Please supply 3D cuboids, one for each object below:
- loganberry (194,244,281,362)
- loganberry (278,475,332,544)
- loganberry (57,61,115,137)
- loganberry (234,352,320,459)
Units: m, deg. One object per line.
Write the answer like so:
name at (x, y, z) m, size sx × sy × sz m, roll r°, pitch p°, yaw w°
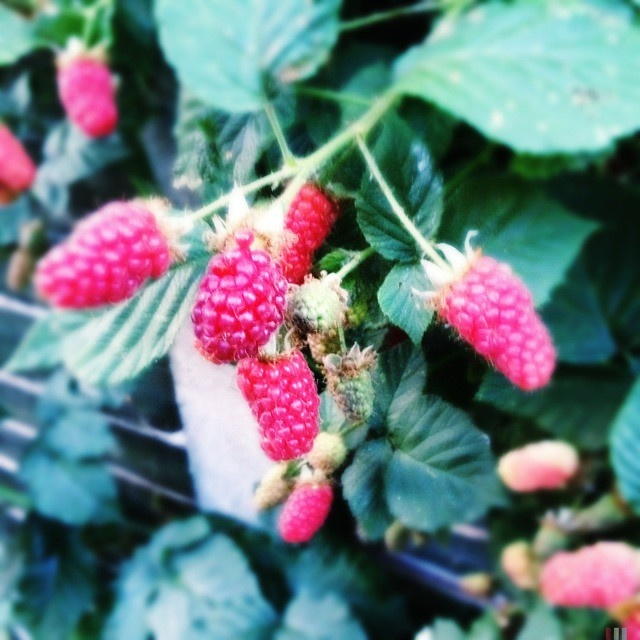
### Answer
loganberry at (-0.054, -0.012, 0.501) m, size 0.051 × 0.044 × 0.080 m, roll 13°, pitch 82°, yaw 33°
loganberry at (-0.011, 0.156, 0.623) m, size 0.035 × 0.033 × 0.056 m, roll 29°, pitch 113°, yaw -7°
loganberry at (-0.208, -0.199, 0.683) m, size 0.043 × 0.041 × 0.071 m, roll -1°, pitch 83°, yaw 5°
loganberry at (-0.027, 0.060, 0.533) m, size 0.047 × 0.040 × 0.080 m, roll -6°, pitch 101°, yaw 8°
